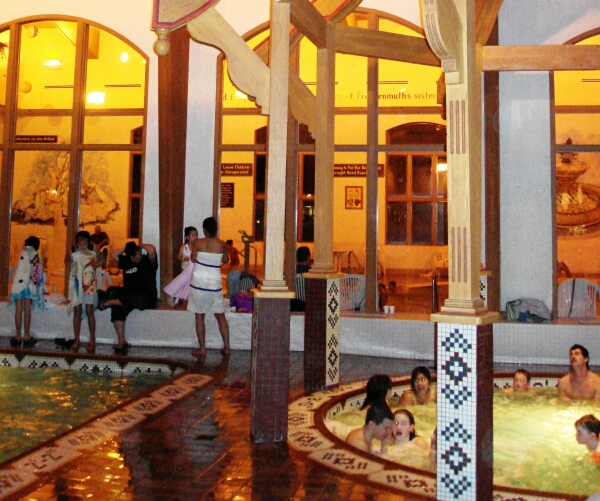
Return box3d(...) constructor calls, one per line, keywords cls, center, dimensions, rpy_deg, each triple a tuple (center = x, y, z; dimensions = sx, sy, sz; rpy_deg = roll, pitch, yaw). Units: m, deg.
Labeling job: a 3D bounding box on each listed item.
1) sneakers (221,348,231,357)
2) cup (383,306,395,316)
box3d(cls="sneakers", center=(-1.027, 1.374, 8.027), dimensions=(0.126, 0.146, 0.084), rpy_deg=(-2, -1, 9))
box3d(cls="cup", center=(1.326, 0.932, 8.834), dimensions=(0.095, 0.150, 0.178), rpy_deg=(0, 1, -44))
